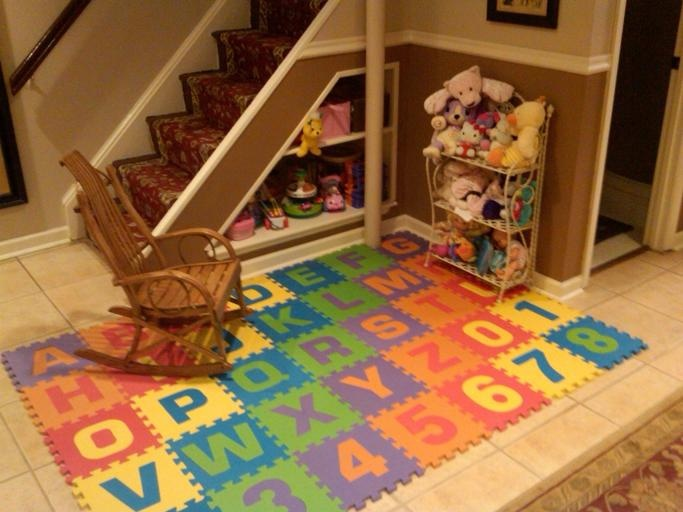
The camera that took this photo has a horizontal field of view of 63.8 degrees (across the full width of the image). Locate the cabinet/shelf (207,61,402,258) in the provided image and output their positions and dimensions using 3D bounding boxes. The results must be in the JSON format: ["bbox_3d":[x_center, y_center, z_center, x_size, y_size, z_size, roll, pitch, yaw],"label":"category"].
[{"bbox_3d":[-0.302,-0.711,4.018,1.203,1.057,0.419,-22,41,-28],"label":"cabinet/shelf"}]

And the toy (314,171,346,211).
[{"bbox_3d":[-0.078,-0.488,4.392,0.203,0.304,0.167,-11,5,-37],"label":"toy"}]

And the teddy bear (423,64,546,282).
[{"bbox_3d":[0.973,-0.546,3.624,0.452,1.469,0.906,-23,37,-24],"label":"teddy bear"}]

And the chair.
[{"bbox_3d":[-1.062,0.033,3.197,0.900,1.188,0.646,3,22,1],"label":"chair"}]

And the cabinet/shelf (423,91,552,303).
[{"bbox_3d":[0.997,-0.384,3.632,0.464,1.528,0.846,-18,32,-29],"label":"cabinet/shelf"}]

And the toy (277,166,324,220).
[{"bbox_3d":[-0.320,-0.508,4.360,0.327,0.374,0.332,15,24,35],"label":"toy"}]

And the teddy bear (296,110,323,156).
[{"bbox_3d":[-0.243,-0.888,3.943,0.193,0.298,0.259,-4,36,-1],"label":"teddy bear"}]
